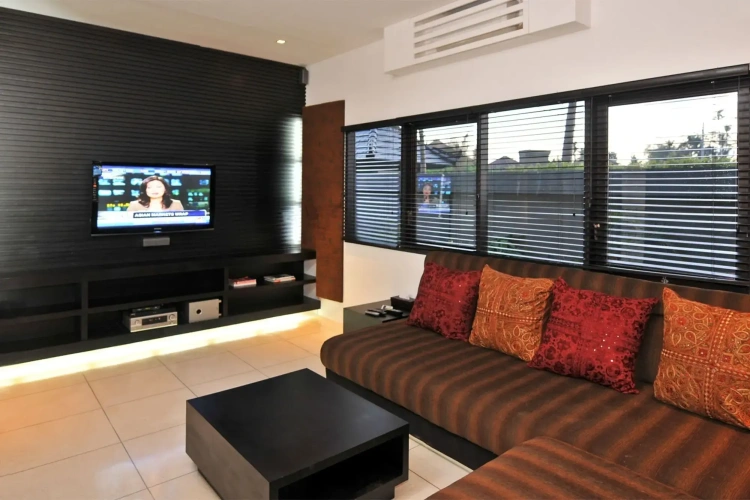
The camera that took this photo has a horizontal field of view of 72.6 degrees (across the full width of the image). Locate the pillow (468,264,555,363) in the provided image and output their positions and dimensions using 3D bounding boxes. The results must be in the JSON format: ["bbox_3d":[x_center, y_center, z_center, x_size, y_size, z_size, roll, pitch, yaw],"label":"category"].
[{"bbox_3d":[1.059,0.497,4.047,0.417,0.606,0.744,-23,15,-28],"label":"pillow"}]

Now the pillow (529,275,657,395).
[{"bbox_3d":[1.377,0.541,3.348,0.767,0.653,0.241,18,-2,32],"label":"pillow"}]

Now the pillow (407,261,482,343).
[{"bbox_3d":[0.660,0.439,4.309,0.655,0.532,0.200,11,-7,46],"label":"pillow"}]
